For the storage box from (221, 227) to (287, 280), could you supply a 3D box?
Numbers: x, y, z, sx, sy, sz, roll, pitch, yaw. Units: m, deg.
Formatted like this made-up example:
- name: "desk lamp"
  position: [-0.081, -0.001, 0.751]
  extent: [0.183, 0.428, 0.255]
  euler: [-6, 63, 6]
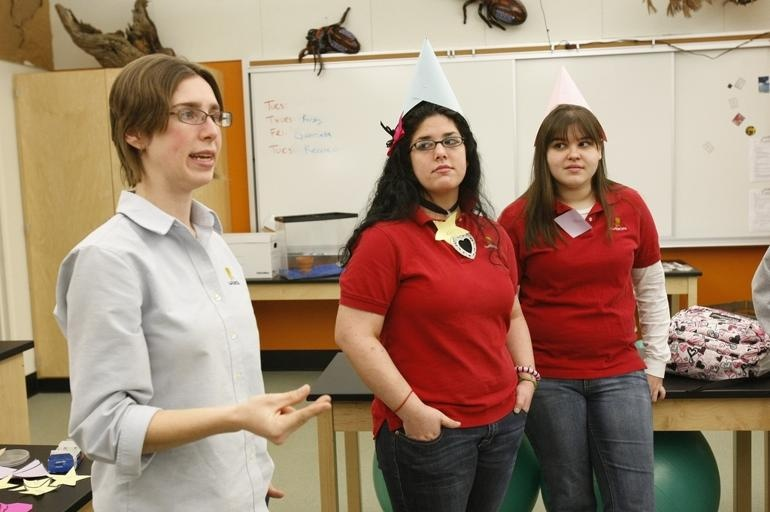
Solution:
- name: "storage box"
  position: [-1.032, -0.027, 5.205]
  extent: [0.484, 0.302, 0.481]
  euler: [-2, 7, -15]

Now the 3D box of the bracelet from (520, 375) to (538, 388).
- name: "bracelet"
  position: [0.568, 0.496, 2.667]
  extent: [0.062, 0.022, 0.047]
  euler: [14, -2, 31]

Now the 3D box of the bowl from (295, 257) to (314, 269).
- name: "bowl"
  position: [-0.596, 0.043, 5.013]
  extent: [0.144, 0.102, 0.081]
  euler: [1, 11, 0]
